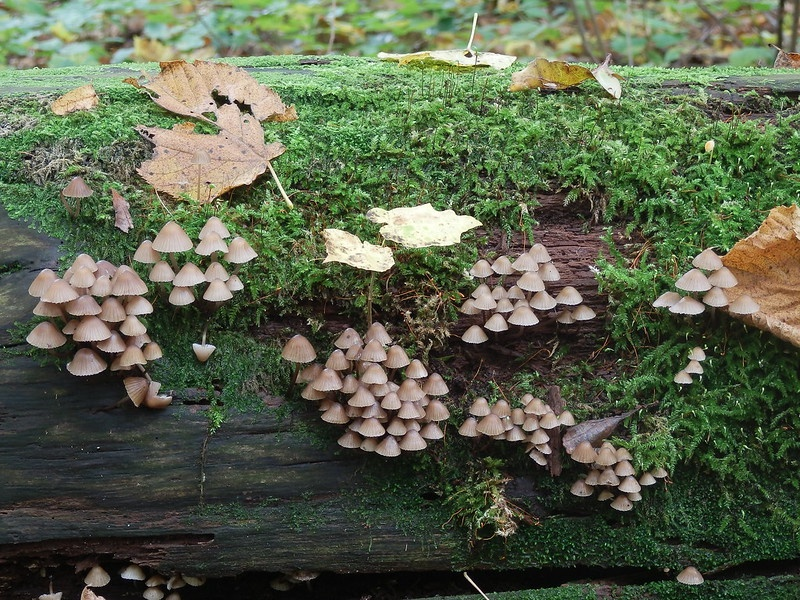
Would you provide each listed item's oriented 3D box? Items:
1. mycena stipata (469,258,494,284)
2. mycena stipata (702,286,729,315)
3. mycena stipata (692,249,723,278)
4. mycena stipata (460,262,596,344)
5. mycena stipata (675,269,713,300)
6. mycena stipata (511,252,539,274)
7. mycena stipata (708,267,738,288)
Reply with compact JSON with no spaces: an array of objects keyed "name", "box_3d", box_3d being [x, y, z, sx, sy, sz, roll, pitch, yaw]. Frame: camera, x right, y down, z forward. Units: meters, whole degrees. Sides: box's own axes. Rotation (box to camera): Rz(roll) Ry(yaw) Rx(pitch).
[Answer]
[{"name":"mycena stipata","box_3d":[0.670,-0.237,7.413,0.218,0.088,0.165,-4,30,-6]},{"name":"mycena stipata","box_3d":[2.506,0.001,7.186,0.202,0.106,0.186,24,42,26]},{"name":"mycena stipata","box_3d":[2.439,-0.288,7.190,0.257,0.108,0.210,-13,36,-22]},{"name":"mycena stipata","box_3d":[0.994,0.038,7.375,1.211,0.344,0.778,-7,32,-18]},{"name":"mycena stipata","box_3d":[2.353,-0.122,7.161,0.243,0.114,0.230,21,32,31]},{"name":"mycena stipata","box_3d":[1.034,-0.301,7.367,0.214,0.087,0.165,-4,27,-12]},{"name":"mycena stipata","box_3d":[2.562,-0.166,7.129,0.215,0.075,0.184,19,38,31]}]
